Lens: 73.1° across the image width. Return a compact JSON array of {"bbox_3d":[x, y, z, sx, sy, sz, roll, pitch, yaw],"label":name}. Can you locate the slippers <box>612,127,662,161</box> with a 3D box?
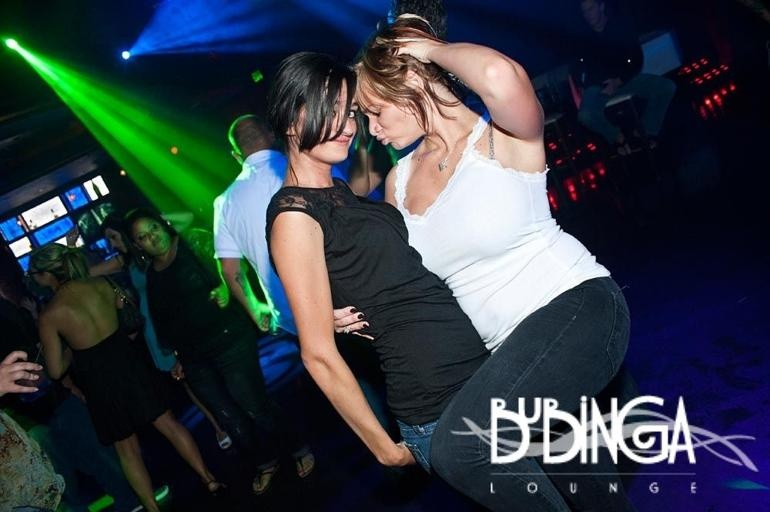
[{"bbox_3d":[3.391,-1.501,7.054,0.335,0.143,0.561,-24,-18,30],"label":"slippers"}]

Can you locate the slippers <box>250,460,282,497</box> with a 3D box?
[{"bbox_3d":[-1.166,2.164,5.087,0.281,0.198,0.066,-51,-20,-23],"label":"slippers"}]

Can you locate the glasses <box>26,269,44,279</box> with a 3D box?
[{"bbox_3d":[-4.283,0.223,6.360,0.257,0.077,0.219,-1,5,-16],"label":"glasses"}]

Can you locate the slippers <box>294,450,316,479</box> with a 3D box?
[{"bbox_3d":[-0.772,2.006,5.031,0.164,0.058,0.224,-21,35,11],"label":"slippers"}]

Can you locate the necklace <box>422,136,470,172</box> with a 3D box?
[{"bbox_3d":[0.408,-0.687,3.485,0.085,0.232,0.226,-66,13,-22],"label":"necklace"}]

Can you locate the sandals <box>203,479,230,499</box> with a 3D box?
[{"bbox_3d":[-1.690,2.346,5.242,0.151,0.149,0.063,-50,-12,-54],"label":"sandals"}]

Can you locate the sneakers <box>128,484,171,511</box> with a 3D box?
[{"bbox_3d":[-2.473,2.566,5.510,0.353,0.129,0.262,-51,24,40],"label":"sneakers"}]
